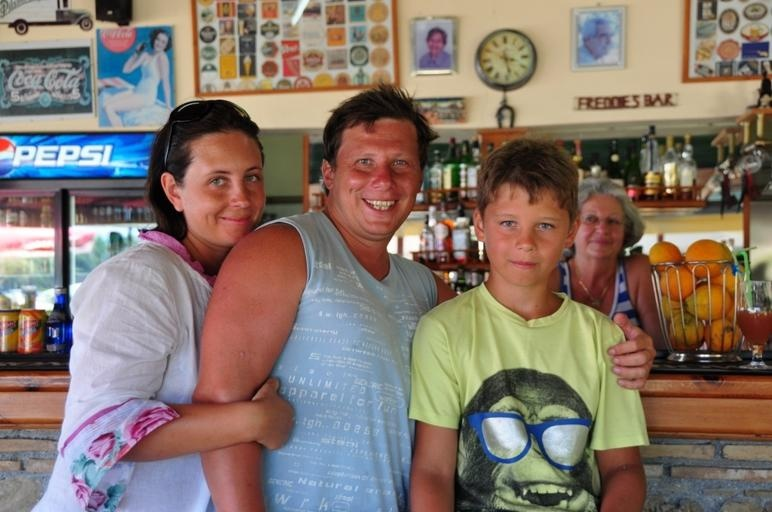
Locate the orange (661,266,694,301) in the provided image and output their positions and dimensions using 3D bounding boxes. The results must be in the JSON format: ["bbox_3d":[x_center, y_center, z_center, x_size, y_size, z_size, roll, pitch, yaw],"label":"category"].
[{"bbox_3d":[1.259,0.115,4.000,0.150,0.166,0.143,0,5,-7],"label":"orange"}]

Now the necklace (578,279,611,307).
[{"bbox_3d":[1.067,0.187,4.784,0.139,0.127,0.048,2,-22,-24],"label":"necklace"}]

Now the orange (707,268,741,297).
[{"bbox_3d":[1.457,0.114,4.032,0.113,0.125,0.109,-2,2,11],"label":"orange"}]

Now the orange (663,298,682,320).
[{"bbox_3d":[1.227,0.230,4.057,0.089,0.094,0.084,4,-19,-1],"label":"orange"}]

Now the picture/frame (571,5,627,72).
[{"bbox_3d":[1.330,-1.376,5.765,0.448,0.443,0.067,1,4,8],"label":"picture/frame"}]

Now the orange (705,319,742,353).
[{"bbox_3d":[1.435,0.348,4.002,0.149,0.134,0.145,-11,-9,11],"label":"orange"}]

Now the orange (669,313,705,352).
[{"bbox_3d":[1.279,0.333,4.069,0.166,0.153,0.160,-5,-31,2],"label":"orange"}]

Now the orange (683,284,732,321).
[{"bbox_3d":[1.376,0.194,3.982,0.185,0.126,0.139,3,6,14],"label":"orange"}]

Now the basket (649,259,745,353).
[{"bbox_3d":[1.349,0.222,3.997,0.406,0.390,0.394,-3,-6,10],"label":"basket"}]

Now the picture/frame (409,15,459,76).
[{"bbox_3d":[0.302,-1.346,5.829,0.390,0.397,0.045,0,3,1],"label":"picture/frame"}]

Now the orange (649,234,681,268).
[{"bbox_3d":[1.248,-0.021,4.103,0.117,0.133,0.114,-29,-18,0],"label":"orange"}]

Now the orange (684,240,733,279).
[{"bbox_3d":[1.388,0.009,3.995,0.197,0.158,0.083,0,5,10],"label":"orange"}]
